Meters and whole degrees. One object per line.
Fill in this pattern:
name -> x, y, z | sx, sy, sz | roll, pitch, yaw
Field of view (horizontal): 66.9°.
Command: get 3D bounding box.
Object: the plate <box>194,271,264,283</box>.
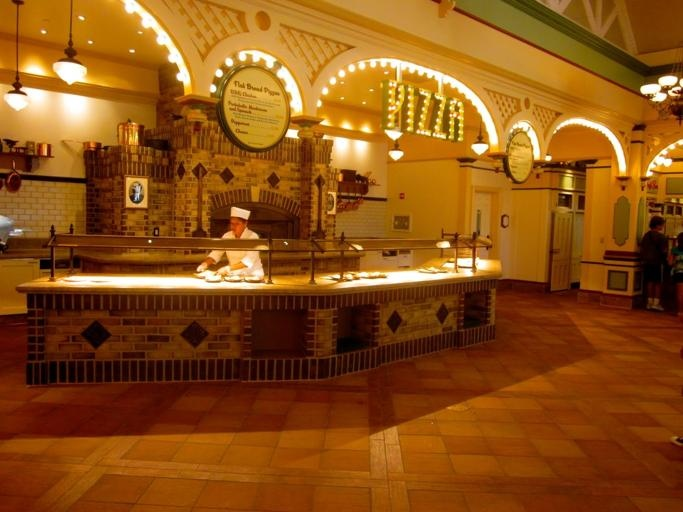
plate -> -1.419, 0.249, 6.485 | 0.875, 0.088, 0.506 | 1, 9, -6

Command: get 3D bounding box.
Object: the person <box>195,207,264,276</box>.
person -> -1.450, 0.118, 6.888 | 0.739, 1.403, 0.906 | 4, 18, 1

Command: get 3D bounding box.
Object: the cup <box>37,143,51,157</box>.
cup -> -5.290, -1.888, 9.219 | 0.243, 0.215, 0.255 | -1, 2, 0

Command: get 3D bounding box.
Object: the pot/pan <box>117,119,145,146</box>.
pot/pan -> -3.830, -2.235, 9.576 | 0.553, 0.535, 0.516 | 0, 0, -4

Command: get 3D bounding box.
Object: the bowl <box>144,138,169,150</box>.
bowl -> -3.363, -2.025, 9.426 | 0.441, 0.197, 0.238 | 1, 10, -10

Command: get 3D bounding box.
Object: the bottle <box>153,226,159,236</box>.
bottle -> -3.311, -0.448, 9.264 | 0.108, 0.128, 0.113 | -1, 10, -23

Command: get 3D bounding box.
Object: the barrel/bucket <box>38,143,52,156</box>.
barrel/bucket -> -5.278, -1.911, 9.282 | 0.248, 0.162, 0.227 | 0, 4, 0

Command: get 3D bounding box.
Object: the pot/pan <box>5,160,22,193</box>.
pot/pan -> -5.740, -1.386, 9.080 | 0.184, 0.550, 0.278 | 11, 12, 39

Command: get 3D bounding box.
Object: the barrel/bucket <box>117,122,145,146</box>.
barrel/bucket -> -3.835, -2.195, 9.521 | 0.530, 0.532, 0.508 | 1, 6, 0
